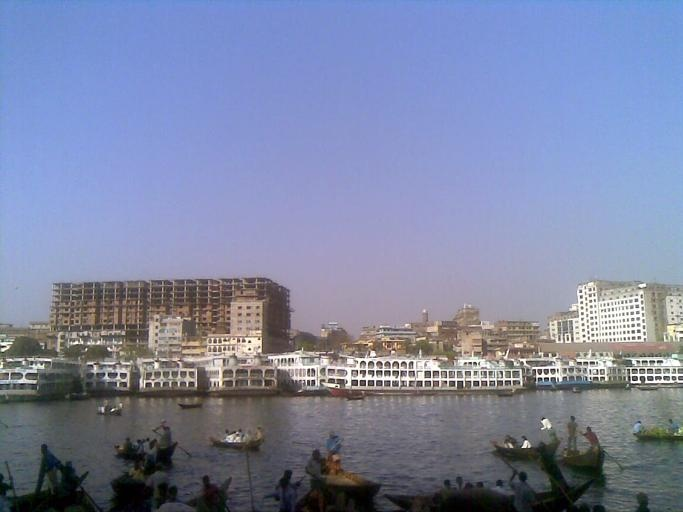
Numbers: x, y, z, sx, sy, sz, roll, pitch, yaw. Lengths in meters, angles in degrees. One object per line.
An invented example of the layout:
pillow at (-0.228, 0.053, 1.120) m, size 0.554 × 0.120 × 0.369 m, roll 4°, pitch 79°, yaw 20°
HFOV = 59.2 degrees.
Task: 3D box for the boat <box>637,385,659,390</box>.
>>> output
boat at (63.343, 27.121, 124.131) m, size 3.340 × 0.774 × 4.736 m, roll -7°, pitch -11°, yaw 28°

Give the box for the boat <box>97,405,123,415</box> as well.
boat at (-31.479, 21.000, 81.718) m, size 3.715 × 1.364 × 2.570 m, roll 3°, pitch -8°, yaw -7°

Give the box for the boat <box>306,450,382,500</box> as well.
boat at (-0.102, 12.853, 34.811) m, size 3.406 × 1.400 × 4.343 m, roll 13°, pitch -15°, yaw -41°

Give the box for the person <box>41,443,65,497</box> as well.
person at (-16.366, 11.548, 33.584) m, size 0.913 × 2.142 × 0.625 m, roll -8°, pitch 14°, yaw -27°

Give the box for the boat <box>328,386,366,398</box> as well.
boat at (1.067, 24.550, 106.671) m, size 6.885 × 1.821 × 2.209 m, roll 5°, pitch -19°, yaw 12°
